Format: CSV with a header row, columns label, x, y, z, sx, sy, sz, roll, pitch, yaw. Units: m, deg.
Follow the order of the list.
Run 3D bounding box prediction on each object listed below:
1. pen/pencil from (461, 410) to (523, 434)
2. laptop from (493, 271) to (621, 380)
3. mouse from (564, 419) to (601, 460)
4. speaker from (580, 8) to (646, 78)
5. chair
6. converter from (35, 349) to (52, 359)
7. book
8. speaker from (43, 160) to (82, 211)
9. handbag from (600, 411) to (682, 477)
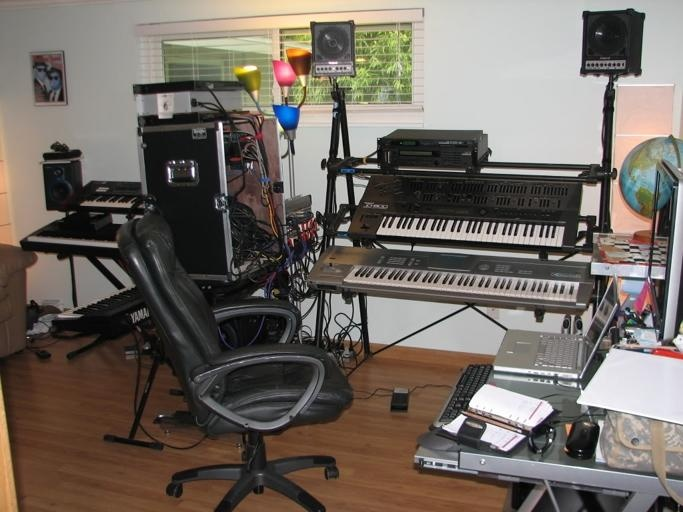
label,x,y,z,sx,sy,sz,roll,pitch,yaw
pen/pencil,0.493,0.538,1.839,0.170,0.017,0.018,15,28,19
laptop,0.831,0.257,2.225,0.413,0.244,0.428,5,15,21
mouse,0.748,0.565,1.770,0.087,0.033,0.156,7,24,35
speaker,1.513,-1.192,3.192,0.328,0.343,0.143,4,21,16
chair,-0.441,0.384,3.264,1.463,1.835,1.176,-3,12,-5
converter,-2.208,0.729,4.246,0.105,0.028,0.057,15,14,41
book,0.511,0.529,1.855,0.232,0.079,0.286,14,24,39
speaker,-2.152,-0.552,4.443,0.291,0.390,0.170,-10,21,-23
handbag,0.856,0.534,1.612,0.223,0.170,0.089,3,2,18
